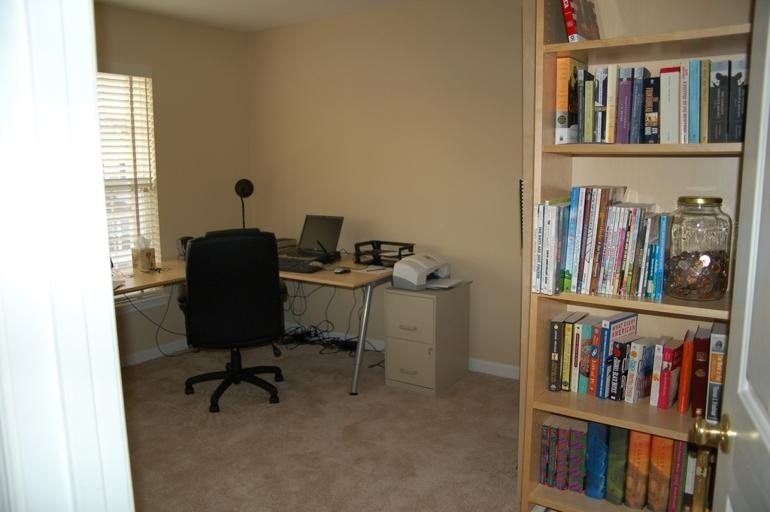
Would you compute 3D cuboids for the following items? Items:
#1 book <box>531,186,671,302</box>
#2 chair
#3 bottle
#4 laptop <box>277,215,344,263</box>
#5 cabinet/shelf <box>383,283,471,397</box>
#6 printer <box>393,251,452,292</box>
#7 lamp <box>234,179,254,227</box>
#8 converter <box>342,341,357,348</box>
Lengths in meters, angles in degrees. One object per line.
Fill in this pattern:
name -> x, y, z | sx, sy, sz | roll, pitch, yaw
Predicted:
book -> 0.809, -0.030, 2.211 | 0.422, 0.402, 0.223 | 5, 8, 18
chair -> -1.013, 0.360, 3.851 | 0.753, 1.140, 0.769 | 3, 11, 17
bottle -> 1.173, -0.018, 2.150 | 0.239, 0.337, 0.150 | 3, 15, 14
laptop -> -0.556, -0.138, 4.413 | 0.441, 0.264, 0.377 | 5, 6, 35
cabinet/shelf -> 0.297, 0.547, 4.141 | 0.456, 0.680, 0.584 | 4, 8, 39
printer -> 0.210, 0.050, 3.984 | 0.244, 0.180, 0.360 | 5, 13, 33
lamp -> -1.224, -0.454, 5.083 | 0.174, 0.452, 0.410 | -4, 14, -12
converter -> -0.292, 0.723, 4.809 | 0.080, 0.037, 0.058 | 1, 0, 14
